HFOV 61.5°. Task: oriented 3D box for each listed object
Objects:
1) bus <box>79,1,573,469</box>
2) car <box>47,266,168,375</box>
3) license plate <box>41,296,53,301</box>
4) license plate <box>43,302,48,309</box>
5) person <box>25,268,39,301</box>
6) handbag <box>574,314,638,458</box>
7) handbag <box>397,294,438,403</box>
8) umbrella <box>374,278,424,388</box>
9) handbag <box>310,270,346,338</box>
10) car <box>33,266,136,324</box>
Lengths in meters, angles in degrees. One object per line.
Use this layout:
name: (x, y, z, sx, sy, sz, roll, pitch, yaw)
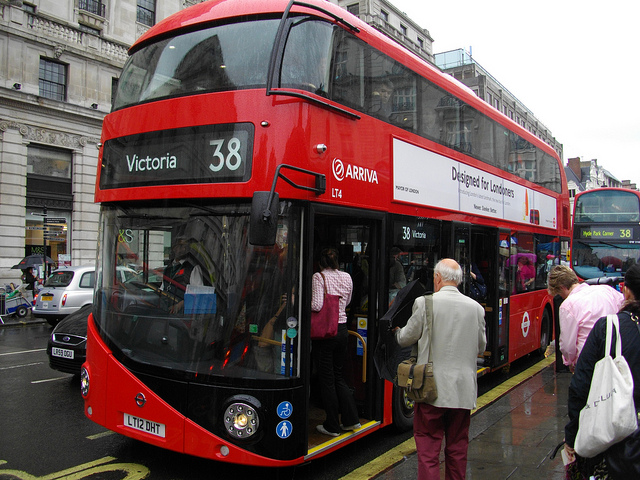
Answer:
bus: (1.107, -0.191, 11.182, 4.088, 6.046, 12.081, 1, -1, 39)
car: (-3.903, 1.204, 10.051, 1.075, 1.317, 2.876, -15, -15, 29)
license plate: (-8.094, 1.723, 15.800, 0.510, 0.155, 0.041, 1, 1, 32)
license plate: (-8.154, 1.932, 15.791, 0.239, 0.187, 0.053, 1, 1, 39)
person: (-11.401, 1.750, 21.175, 0.438, 1.256, 0.639, -3, -11, 3)
handbag: (2.270, 1.173, 4.227, 0.338, 1.080, 0.283, 0, 1, -13)
handbag: (0.974, 1.076, 5.308, 0.381, 1.022, 0.176, 0, 1, 5)
umbrella: (0.875, 0.999, 6.281, 0.506, 1.027, 0.786, -2, 4, -8)
handbag: (0.081, 0.766, 6.234, 0.282, 0.754, 0.489, 0, 1, 11)
car: (-7.250, 1.768, 17.470, 1.701, 1.890, 4.109, 0, -4, 23)
